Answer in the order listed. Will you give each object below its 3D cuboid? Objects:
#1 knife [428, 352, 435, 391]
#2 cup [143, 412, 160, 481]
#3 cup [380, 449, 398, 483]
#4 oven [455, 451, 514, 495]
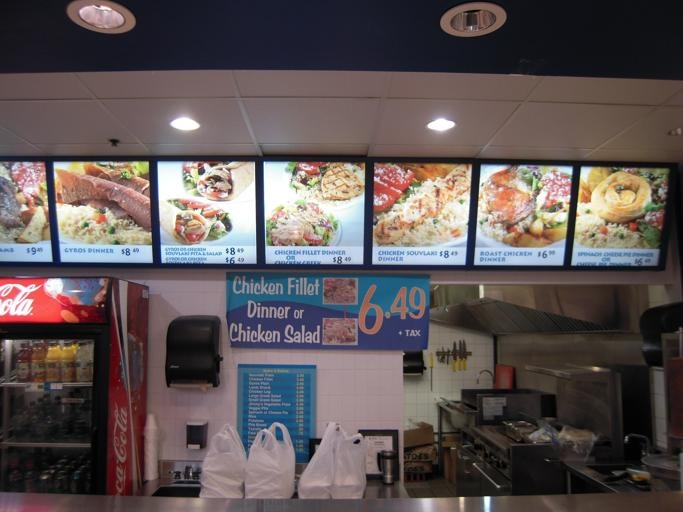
[{"bbox_3d":[1.324,1.664,8.349,0.089,0.559,0.086,-1,-11,-3],"label":"knife"},{"bbox_3d":[-1.569,1.569,4.768,0.121,0.529,0.131,-2,-11,0],"label":"cup"},{"bbox_3d":[0.406,1.699,4.695,0.192,0.254,0.165,1,-11,-14],"label":"cup"},{"bbox_3d":[1.371,2.203,5.800,0.401,0.461,0.705,6,-18,16],"label":"oven"}]
